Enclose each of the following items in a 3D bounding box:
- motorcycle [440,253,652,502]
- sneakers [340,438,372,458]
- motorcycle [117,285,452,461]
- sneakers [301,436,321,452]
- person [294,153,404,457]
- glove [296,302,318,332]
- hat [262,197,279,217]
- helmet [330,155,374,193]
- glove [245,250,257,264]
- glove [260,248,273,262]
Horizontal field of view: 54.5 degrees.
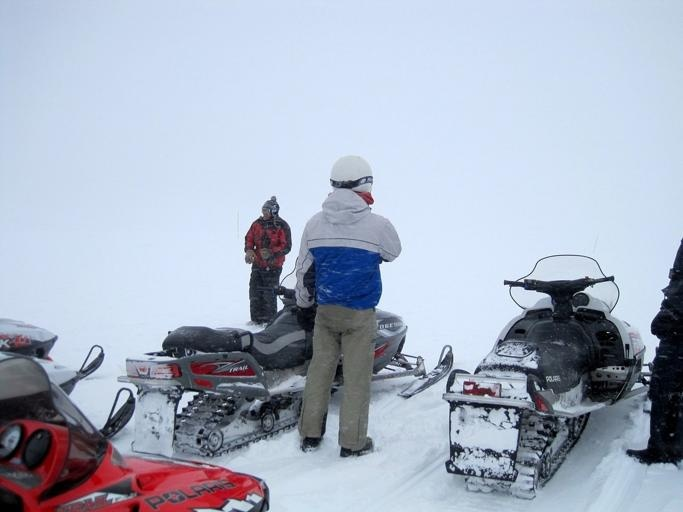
[{"bbox_3d":[1.904,0.903,5.758,1.156,1.439,2.467,3,14,31],"label":"motorcycle"},{"bbox_3d":[0.133,1.675,5.726,0.110,0.155,0.336,6,15,31],"label":"sneakers"},{"bbox_3d":[-0.651,1.141,6.828,3.325,1.476,1.383,-4,0,-43],"label":"motorcycle"},{"bbox_3d":[-0.278,1.640,5.800,0.073,0.105,0.222,-4,-15,11],"label":"sneakers"},{"bbox_3d":[0.032,0.408,5.791,0.904,2.571,0.517,2,4,5],"label":"person"},{"bbox_3d":[-0.312,0.568,6.094,0.159,0.214,0.218,-2,-16,2],"label":"glove"},{"bbox_3d":[-1.139,-0.760,10.473,0.231,0.336,0.307,10,19,30],"label":"hat"},{"bbox_3d":[0.090,-0.763,5.921,0.294,0.343,0.336,5,15,12],"label":"helmet"},{"bbox_3d":[-1.415,0.017,10.225,0.165,0.182,0.059,1,-5,14],"label":"glove"},{"bbox_3d":[-1.138,0.006,10.232,0.135,0.180,0.190,-3,-33,17],"label":"glove"}]
